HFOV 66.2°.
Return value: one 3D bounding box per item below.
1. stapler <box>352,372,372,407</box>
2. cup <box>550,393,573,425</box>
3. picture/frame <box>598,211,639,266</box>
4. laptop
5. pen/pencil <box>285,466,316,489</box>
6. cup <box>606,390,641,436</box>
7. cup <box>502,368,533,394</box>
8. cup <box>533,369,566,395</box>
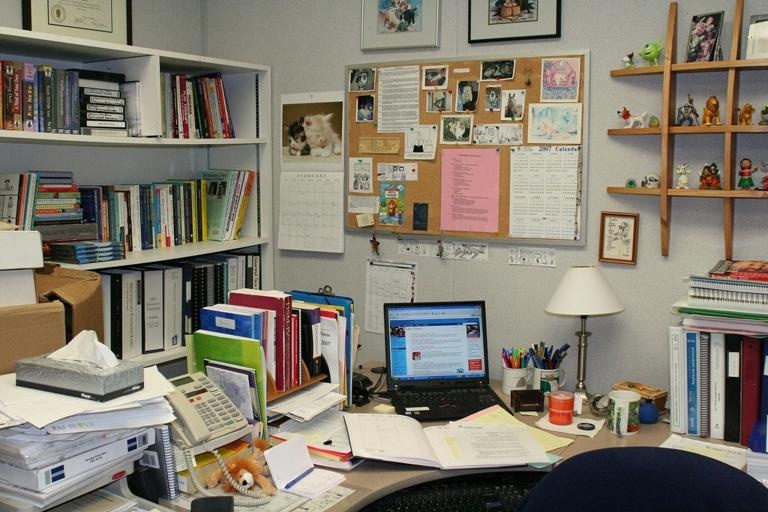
[{"bbox_3d":[-0.109,0.580,2.562,0.095,0.078,0.121,4,4,24],"label":"stapler"},{"bbox_3d":[0.703,0.598,2.332,0.110,0.113,0.110,0,3,0],"label":"cup"},{"bbox_3d":[1.020,-0.082,2.542,0.227,0.299,0.024,5,4,36],"label":"picture/frame"},{"bbox_3d":[0.240,0.440,2.604,0.547,0.391,0.450,-1,3,-8],"label":"laptop"},{"bbox_3d":[-0.291,0.743,1.963,0.013,0.025,0.170,-44,-11,29],"label":"pen/pencil"},{"bbox_3d":[0.917,0.603,2.255,0.122,0.151,0.156,-2,2,3],"label":"cup"},{"bbox_3d":[0.576,0.543,2.576,0.091,0.114,0.140,-1,-5,31],"label":"cup"},{"bbox_3d":[0.704,0.538,2.534,0.139,0.116,0.086,1,-2,-22],"label":"cup"}]
